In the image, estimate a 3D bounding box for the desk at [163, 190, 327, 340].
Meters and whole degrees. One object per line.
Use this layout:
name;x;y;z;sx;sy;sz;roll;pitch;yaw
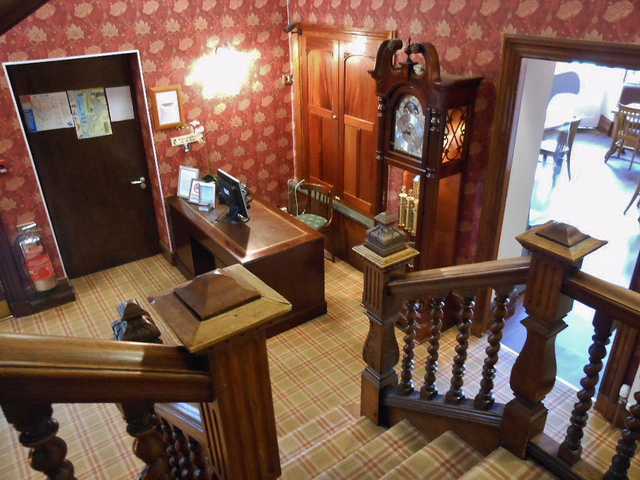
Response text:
desk;-0.808;0.196;5.358;0.899;0.979;1.884;-17;28;-28

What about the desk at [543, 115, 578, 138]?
desk;4.179;-2.082;8.212;0.277;0.298;0.686;16;33;34

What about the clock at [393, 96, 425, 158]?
clock;0.796;-1.024;4.045;0.062;0.475;0.349;-21;42;-26

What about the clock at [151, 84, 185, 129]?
clock;-1.797;-1.594;5.394;0.388;0.523;0.053;-22;37;-35

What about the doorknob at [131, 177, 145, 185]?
doorknob;-2.294;-0.747;5.810;0.165;0.073;0.030;-19;30;-28

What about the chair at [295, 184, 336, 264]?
chair;-0.074;-0.245;5.968;0.440;1.020;0.763;-16;29;-25

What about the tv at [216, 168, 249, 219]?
tv;-1.011;-0.469;4.926;0.069;0.443;0.569;-22;-16;11

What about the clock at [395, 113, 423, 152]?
clock;0.797;-0.972;4.093;0.275;0.315;0.289;1;9;1
